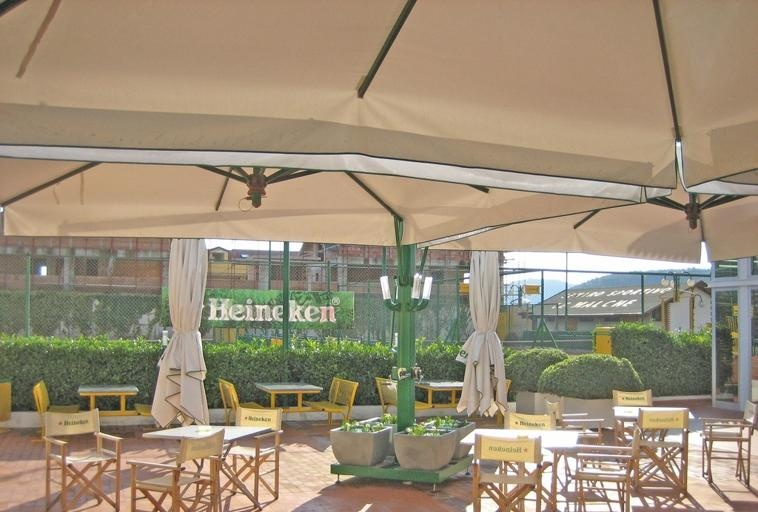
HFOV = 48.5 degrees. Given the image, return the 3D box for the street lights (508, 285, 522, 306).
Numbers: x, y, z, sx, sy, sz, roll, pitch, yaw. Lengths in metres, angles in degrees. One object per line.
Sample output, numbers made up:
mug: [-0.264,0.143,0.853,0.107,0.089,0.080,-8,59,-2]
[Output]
street lights: [3.679,1.079,22.358,0.265,0.544,0.876,1,-7,-16]

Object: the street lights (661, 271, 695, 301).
street lights: [7.882,0.783,22.175,0.737,0.733,0.822,3,-9,-10]
